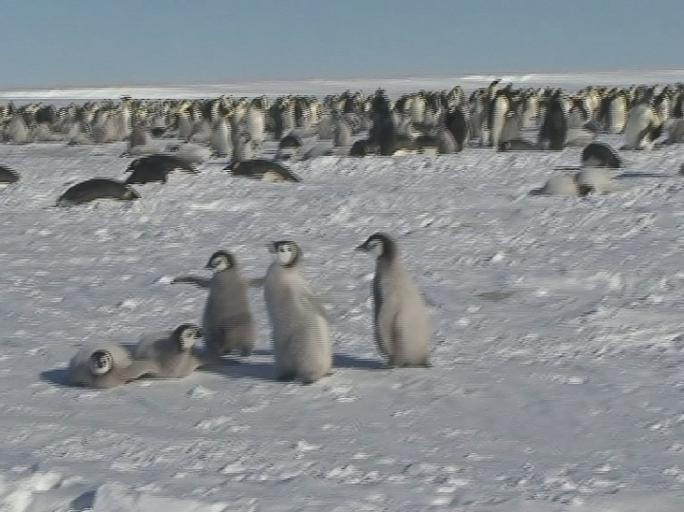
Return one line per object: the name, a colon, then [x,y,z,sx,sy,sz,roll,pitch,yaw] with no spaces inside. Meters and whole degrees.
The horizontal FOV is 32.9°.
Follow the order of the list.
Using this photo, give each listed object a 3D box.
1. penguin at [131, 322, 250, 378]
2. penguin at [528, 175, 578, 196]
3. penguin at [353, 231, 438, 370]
penguin: [-1.245,0.660,8.178,0.876,0.281,0.595,-6,27,43]
penguin: [2.608,-0.853,14.252,0.594,0.127,0.593,1,5,10]
penguin: [0.520,0.323,8.237,0.824,0.832,0.557,-2,21,6]
